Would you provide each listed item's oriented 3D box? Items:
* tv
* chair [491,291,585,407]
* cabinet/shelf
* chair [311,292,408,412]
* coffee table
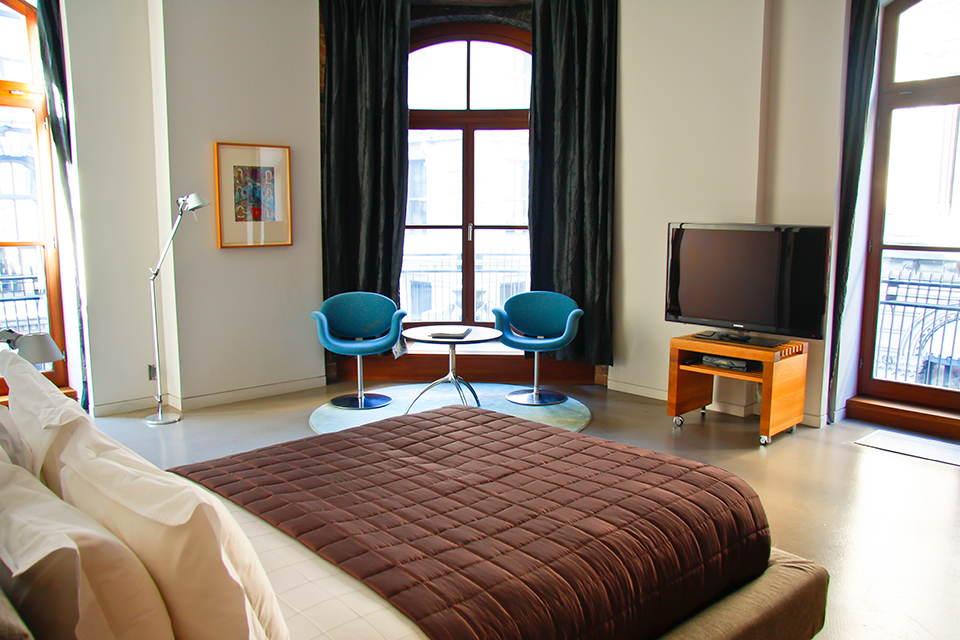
[{"bbox_3d":[2.311,-0.302,5.555,1.026,0.725,0.093,6,10,40],"label":"tv"},{"bbox_3d":[0.565,0.278,6.409,0.844,1.036,0.634,3,8,19],"label":"chair"},{"bbox_3d":[2.234,0.564,5.777,0.597,0.842,0.935,-11,14,-40],"label":"cabinet/shelf"},{"bbox_3d":[-1.159,0.289,6.328,0.848,1.042,0.669,-2,8,-16],"label":"chair"},{"bbox_3d":[-0.265,0.501,6.160,0.833,0.852,0.856,-3,8,-22],"label":"coffee table"}]
